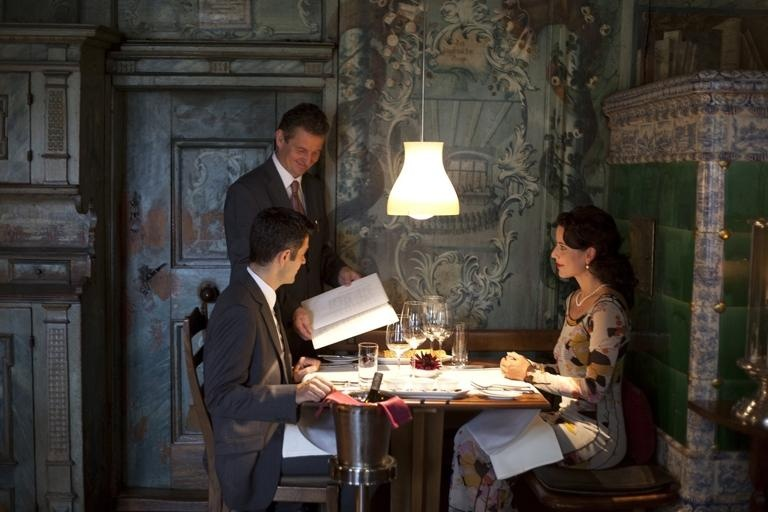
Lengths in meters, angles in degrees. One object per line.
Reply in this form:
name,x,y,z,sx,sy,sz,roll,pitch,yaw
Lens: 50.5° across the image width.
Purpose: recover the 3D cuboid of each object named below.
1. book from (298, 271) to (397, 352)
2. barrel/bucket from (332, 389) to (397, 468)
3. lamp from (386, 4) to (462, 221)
book,-0.197,0.305,4.408,0.414,0.110,0.423,-19,39,0
barrel/bucket,-0.093,0.817,3.797,0.279,0.256,0.260,1,1,0
lamp,0.215,-0.883,4.754,0.412,1.330,0.722,-1,1,4
